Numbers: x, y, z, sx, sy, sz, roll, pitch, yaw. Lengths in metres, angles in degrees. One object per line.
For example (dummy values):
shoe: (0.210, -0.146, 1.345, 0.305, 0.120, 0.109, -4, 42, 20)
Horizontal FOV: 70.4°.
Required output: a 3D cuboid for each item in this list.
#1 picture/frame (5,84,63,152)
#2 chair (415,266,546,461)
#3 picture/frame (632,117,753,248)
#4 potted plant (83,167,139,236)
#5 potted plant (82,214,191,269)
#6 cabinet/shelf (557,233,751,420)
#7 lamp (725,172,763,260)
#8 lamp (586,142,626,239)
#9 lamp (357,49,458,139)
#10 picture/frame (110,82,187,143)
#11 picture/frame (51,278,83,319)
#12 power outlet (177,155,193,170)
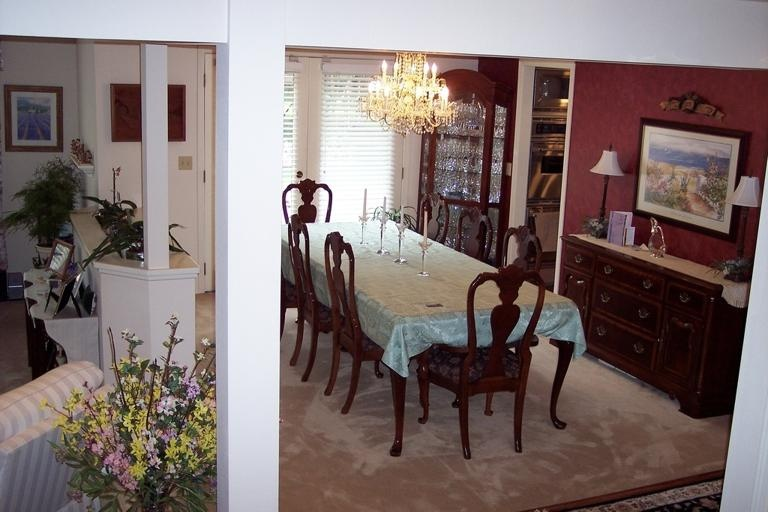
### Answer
picture/frame: (-3.850, -1.528, 5.938, 0.697, 0.873, 0.057, -4, 8, -26)
chair: (0.639, 0.646, 3.735, 0.840, 1.377, 0.748, 4, 12, 14)
picture/frame: (2.614, -0.619, 4.542, 0.068, 0.880, 0.987, -4, 16, -27)
potted plant: (-2.223, -0.420, 4.415, 0.438, 0.532, 0.547, -6, -3, 0)
potted plant: (-1.935, -0.117, 3.892, 0.556, 0.209, 0.570, 7, 11, 33)
cabinet/shelf: (1.925, 0.551, 4.697, 1.645, 1.035, 0.614, 20, -18, -12)
lamp: (2.735, -0.299, 4.144, 0.191, 0.610, 0.388, 9, 15, 34)
lamp: (2.085, -0.616, 5.125, 0.292, 0.837, 0.425, 5, 13, 21)
lamp: (0.109, -1.600, 5.428, 0.595, 0.803, 0.601, -1, -14, -30)
picture/frame: (-2.388, -1.445, 5.456, 0.797, 0.707, 0.066, -7, 46, -29)
picture/frame: (-2.338, 0.265, 4.018, 0.175, 0.265, 0.349, 2, 12, -35)
power outlet: (-2.181, -1.030, 5.939, 0.159, 0.157, 0.018, 0, 6, -17)
